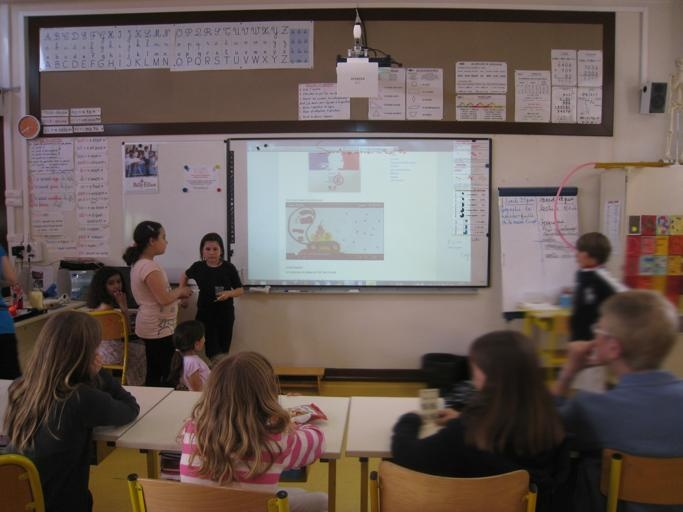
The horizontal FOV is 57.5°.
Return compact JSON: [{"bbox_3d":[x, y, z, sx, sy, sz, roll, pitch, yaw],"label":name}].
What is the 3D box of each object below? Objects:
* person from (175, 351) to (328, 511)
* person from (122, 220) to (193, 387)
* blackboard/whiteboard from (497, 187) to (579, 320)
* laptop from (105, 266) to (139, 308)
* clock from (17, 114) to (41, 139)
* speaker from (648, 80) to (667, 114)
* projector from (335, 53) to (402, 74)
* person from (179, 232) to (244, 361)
[{"bbox_3d":[-0.475,0.863,3.323,0.741,0.700,0.266,-1,3,-3],"label":"person"},{"bbox_3d":[-1.485,0.570,5.154,0.599,1.697,0.567,-6,12,-33],"label":"person"},{"bbox_3d":[1.844,-0.039,5.716,0.724,1.178,0.197,-1,3,-9],"label":"blackboard/whiteboard"},{"bbox_3d":[-1.852,0.273,5.247,0.292,0.403,0.039,-15,13,-38],"label":"laptop"},{"bbox_3d":[-2.952,-1.215,5.885,0.206,0.221,0.079,-1,3,8],"label":"clock"},{"bbox_3d":[2.921,-1.440,5.667,0.179,0.256,0.083,-2,3,-17],"label":"speaker"},{"bbox_3d":[0.270,-1.774,5.627,0.615,0.130,0.218,-1,3,1],"label":"projector"},{"bbox_3d":[-1.172,0.501,5.693,0.541,1.481,0.424,-4,29,-17],"label":"person"}]
